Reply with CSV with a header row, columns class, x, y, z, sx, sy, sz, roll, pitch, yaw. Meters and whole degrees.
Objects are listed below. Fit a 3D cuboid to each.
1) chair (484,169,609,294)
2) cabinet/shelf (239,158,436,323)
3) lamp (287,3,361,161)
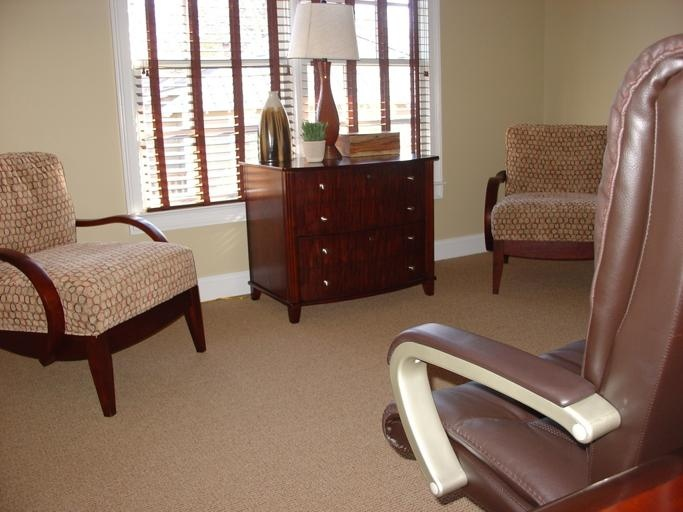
class,x,y,z,sx,sy,sz,roll,pitch,yaw
chair,1.393,-0.399,3.622,0.733,1.068,0.818,0,16,32
cabinet/shelf,0.011,-0.192,3.452,1.027,0.919,0.762,-10,16,-28
lamp,-0.112,-1.038,3.221,0.405,0.879,0.345,-6,18,-12
